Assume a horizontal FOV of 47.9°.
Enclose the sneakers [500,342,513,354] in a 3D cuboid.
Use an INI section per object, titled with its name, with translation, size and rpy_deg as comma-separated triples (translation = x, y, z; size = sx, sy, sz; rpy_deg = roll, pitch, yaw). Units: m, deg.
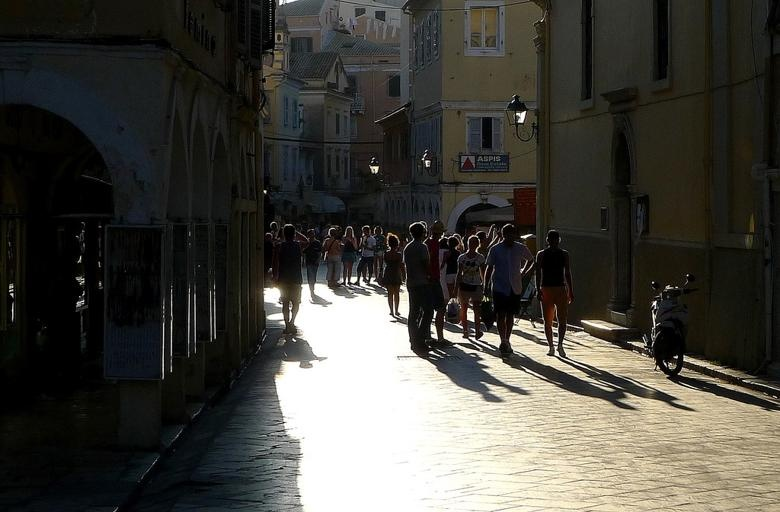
[sneakers]
translation = 2.064, 1.634, 15.668
size = 0.211, 0.205, 0.207
rpy_deg = 0, 0, -7
